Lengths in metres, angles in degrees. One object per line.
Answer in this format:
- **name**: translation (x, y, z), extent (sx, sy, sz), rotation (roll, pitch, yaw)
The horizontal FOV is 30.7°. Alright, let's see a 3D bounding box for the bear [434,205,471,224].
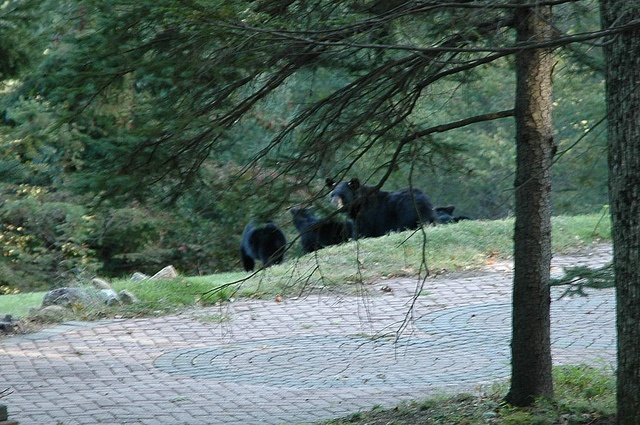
- **bear**: translation (2.778, 0.035, 24.421), extent (0.715, 0.352, 1.729), rotation (-1, 0, 5)

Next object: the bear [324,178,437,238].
- **bear**: translation (1.376, -0.032, 23.371), extent (1.019, 1.187, 2.782), rotation (-15, 13, -36)
